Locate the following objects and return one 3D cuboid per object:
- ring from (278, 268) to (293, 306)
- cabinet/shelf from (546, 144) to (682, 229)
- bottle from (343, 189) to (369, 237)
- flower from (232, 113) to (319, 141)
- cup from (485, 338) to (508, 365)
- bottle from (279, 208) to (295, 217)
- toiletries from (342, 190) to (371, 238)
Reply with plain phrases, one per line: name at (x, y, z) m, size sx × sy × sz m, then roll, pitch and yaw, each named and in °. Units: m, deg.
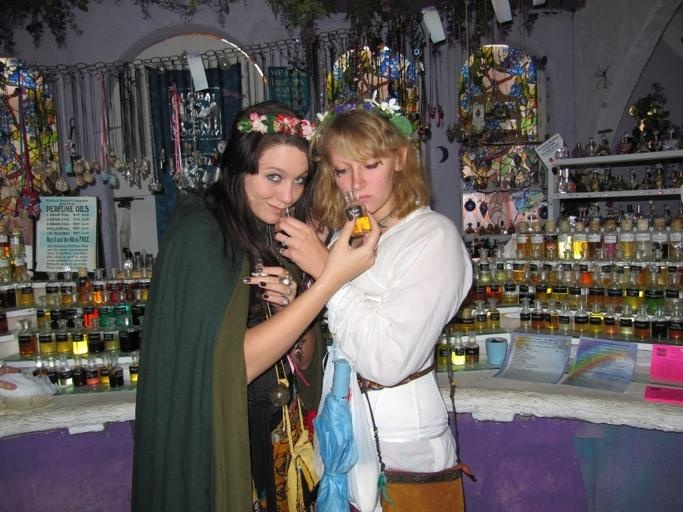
ring at (-0.248, 0.144, 2.328) m, size 0.035 × 0.124 × 0.097 m, roll 1°, pitch 1°, yaw -18°
cabinet/shelf at (2.612, -0.683, 5.034) m, size 1.017 × 0.665 × 0.423 m, roll -3°, pitch -7°, yaw 29°
bottle at (0.071, -0.185, 2.327) m, size 0.099 × 0.206 × 0.101 m, roll -13°, pitch -9°, yaw -2°
flower at (-0.295, -0.594, 2.439) m, size 0.393 × 0.132 × 0.132 m, roll 0°, pitch 42°, yaw -2°
cup at (1.026, 0.646, 3.529) m, size 0.142 × 0.185 × 0.151 m, roll 0°, pitch -2°, yaw 0°
bottle at (-0.258, -0.208, 2.466) m, size 0.054 × 0.074 × 0.053 m, roll -1°, pitch 10°, yaw 0°
toiletries at (0.062, -0.184, 2.329) m, size 0.095 × 0.216 × 0.096 m, roll -15°, pitch -7°, yaw -15°
